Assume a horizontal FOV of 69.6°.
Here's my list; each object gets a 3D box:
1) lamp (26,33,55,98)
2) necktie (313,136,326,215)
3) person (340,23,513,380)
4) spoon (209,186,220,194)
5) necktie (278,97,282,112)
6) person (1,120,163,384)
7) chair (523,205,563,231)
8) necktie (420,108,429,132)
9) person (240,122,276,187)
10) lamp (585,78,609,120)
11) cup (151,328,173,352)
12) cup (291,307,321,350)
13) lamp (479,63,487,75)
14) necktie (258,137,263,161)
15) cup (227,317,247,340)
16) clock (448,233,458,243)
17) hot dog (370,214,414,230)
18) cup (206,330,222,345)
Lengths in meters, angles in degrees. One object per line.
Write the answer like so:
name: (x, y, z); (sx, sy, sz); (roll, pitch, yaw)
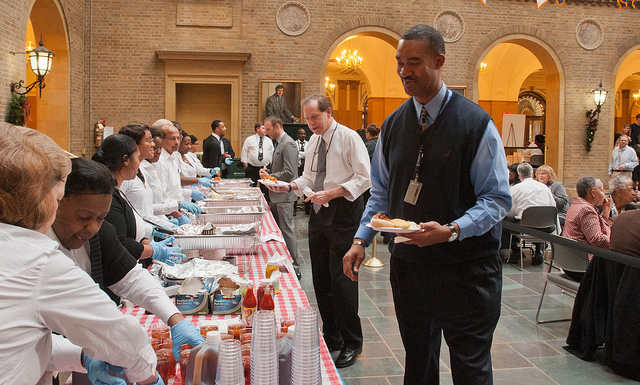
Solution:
lamp: (-5.231, -2.405, 8.622); (0.401, 0.860, 0.618); (-5, 12, -30)
necktie: (-0.007, -0.266, 4.269); (0.051, 0.511, 0.144); (-6, 13, -34)
person: (0.658, 0.104, 2.851); (0.950, 2.233, 0.556); (6, 12, 22)
spoon: (-1.543, -0.038, 6.705); (0.050, 0.045, 0.196); (9, 26, -45)
necktie: (-1.062, -2.334, 12.049); (0.099, 0.274, 0.066); (0, 11, -7)
person: (-1.128, 0.315, 2.094); (0.588, 1.230, 0.300); (-3, 12, -25)
chair: (3.407, 0.389, 7.095); (0.680, 0.400, 0.263); (-6, 13, -38)
necktie: (0.642, -0.451, 2.863); (0.045, 0.139, 0.040); (4, 11, 12)
person: (-1.411, -0.622, 10.482); (0.796, 1.999, 0.569); (5, 28, -1)
lamp: (8.343, -2.743, 13.847); (0.596, 1.079, 0.347); (-4, 12, -29)
cup: (-0.846, 0.787, 2.466); (0.121, 0.122, 0.116); (-2, -13, 0)
cup: (-0.068, 0.665, 2.269); (0.180, 0.228, 0.171); (1, -5, 0)
lamp: (6.535, -5.029, 18.420); (0.237, 0.435, 1.906); (5, 10, 18)
necktie: (-1.332, -0.959, 10.189); (0.096, 0.485, 0.194); (0, 11, -7)
cup: (-0.439, 0.710, 2.435); (0.077, 0.083, 0.094); (2, -4, -1)
clock: (0.763, 0.265, 2.675); (0.043, 0.054, 0.021); (1, 18, -8)
hot dog: (0.391, 0.176, 2.661); (0.157, 0.046, 0.302); (-5, 11, -34)
cup: (-0.524, 0.719, 2.292); (0.066, 0.030, 0.064); (4, -2, 0)
